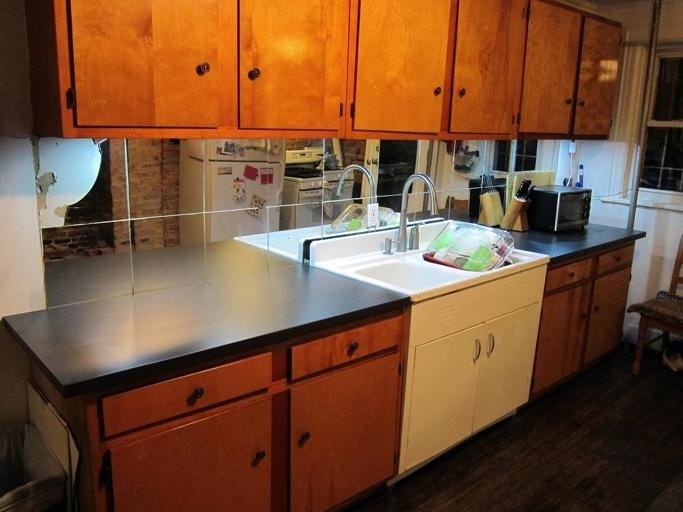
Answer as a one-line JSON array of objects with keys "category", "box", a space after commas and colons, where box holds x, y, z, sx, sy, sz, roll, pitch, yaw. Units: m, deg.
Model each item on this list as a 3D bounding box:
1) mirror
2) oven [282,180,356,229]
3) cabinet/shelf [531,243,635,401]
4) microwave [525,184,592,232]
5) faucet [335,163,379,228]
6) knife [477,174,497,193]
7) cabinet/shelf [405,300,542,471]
[{"category": "mirror", "box": [-0.549, -0.203, 2.347, 1.472, 0.628, 0.147, -12, 18, -36]}, {"category": "oven", "box": [-0.136, -0.317, 2.782, 0.359, 0.337, 0.250, -19, 33, -39]}, {"category": "cabinet/shelf", "box": [1.566, 0.438, 3.403, 0.894, 0.740, 0.337, -13, 17, -39]}, {"category": "microwave", "box": [1.588, -0.350, 3.757, 0.435, 0.266, 0.290, -9, 17, -34]}, {"category": "faucet", "box": [0.092, -0.266, 2.827, 0.295, 0.489, 0.133, -3, -13, 12]}, {"category": "knife", "box": [1.010, -0.498, 3.580, 0.105, 0.135, 0.040, 0, 2, -30]}, {"category": "cabinet/shelf", "box": [0.659, 0.672, 2.672, 0.780, 0.656, 0.440, -13, 18, -39]}]
